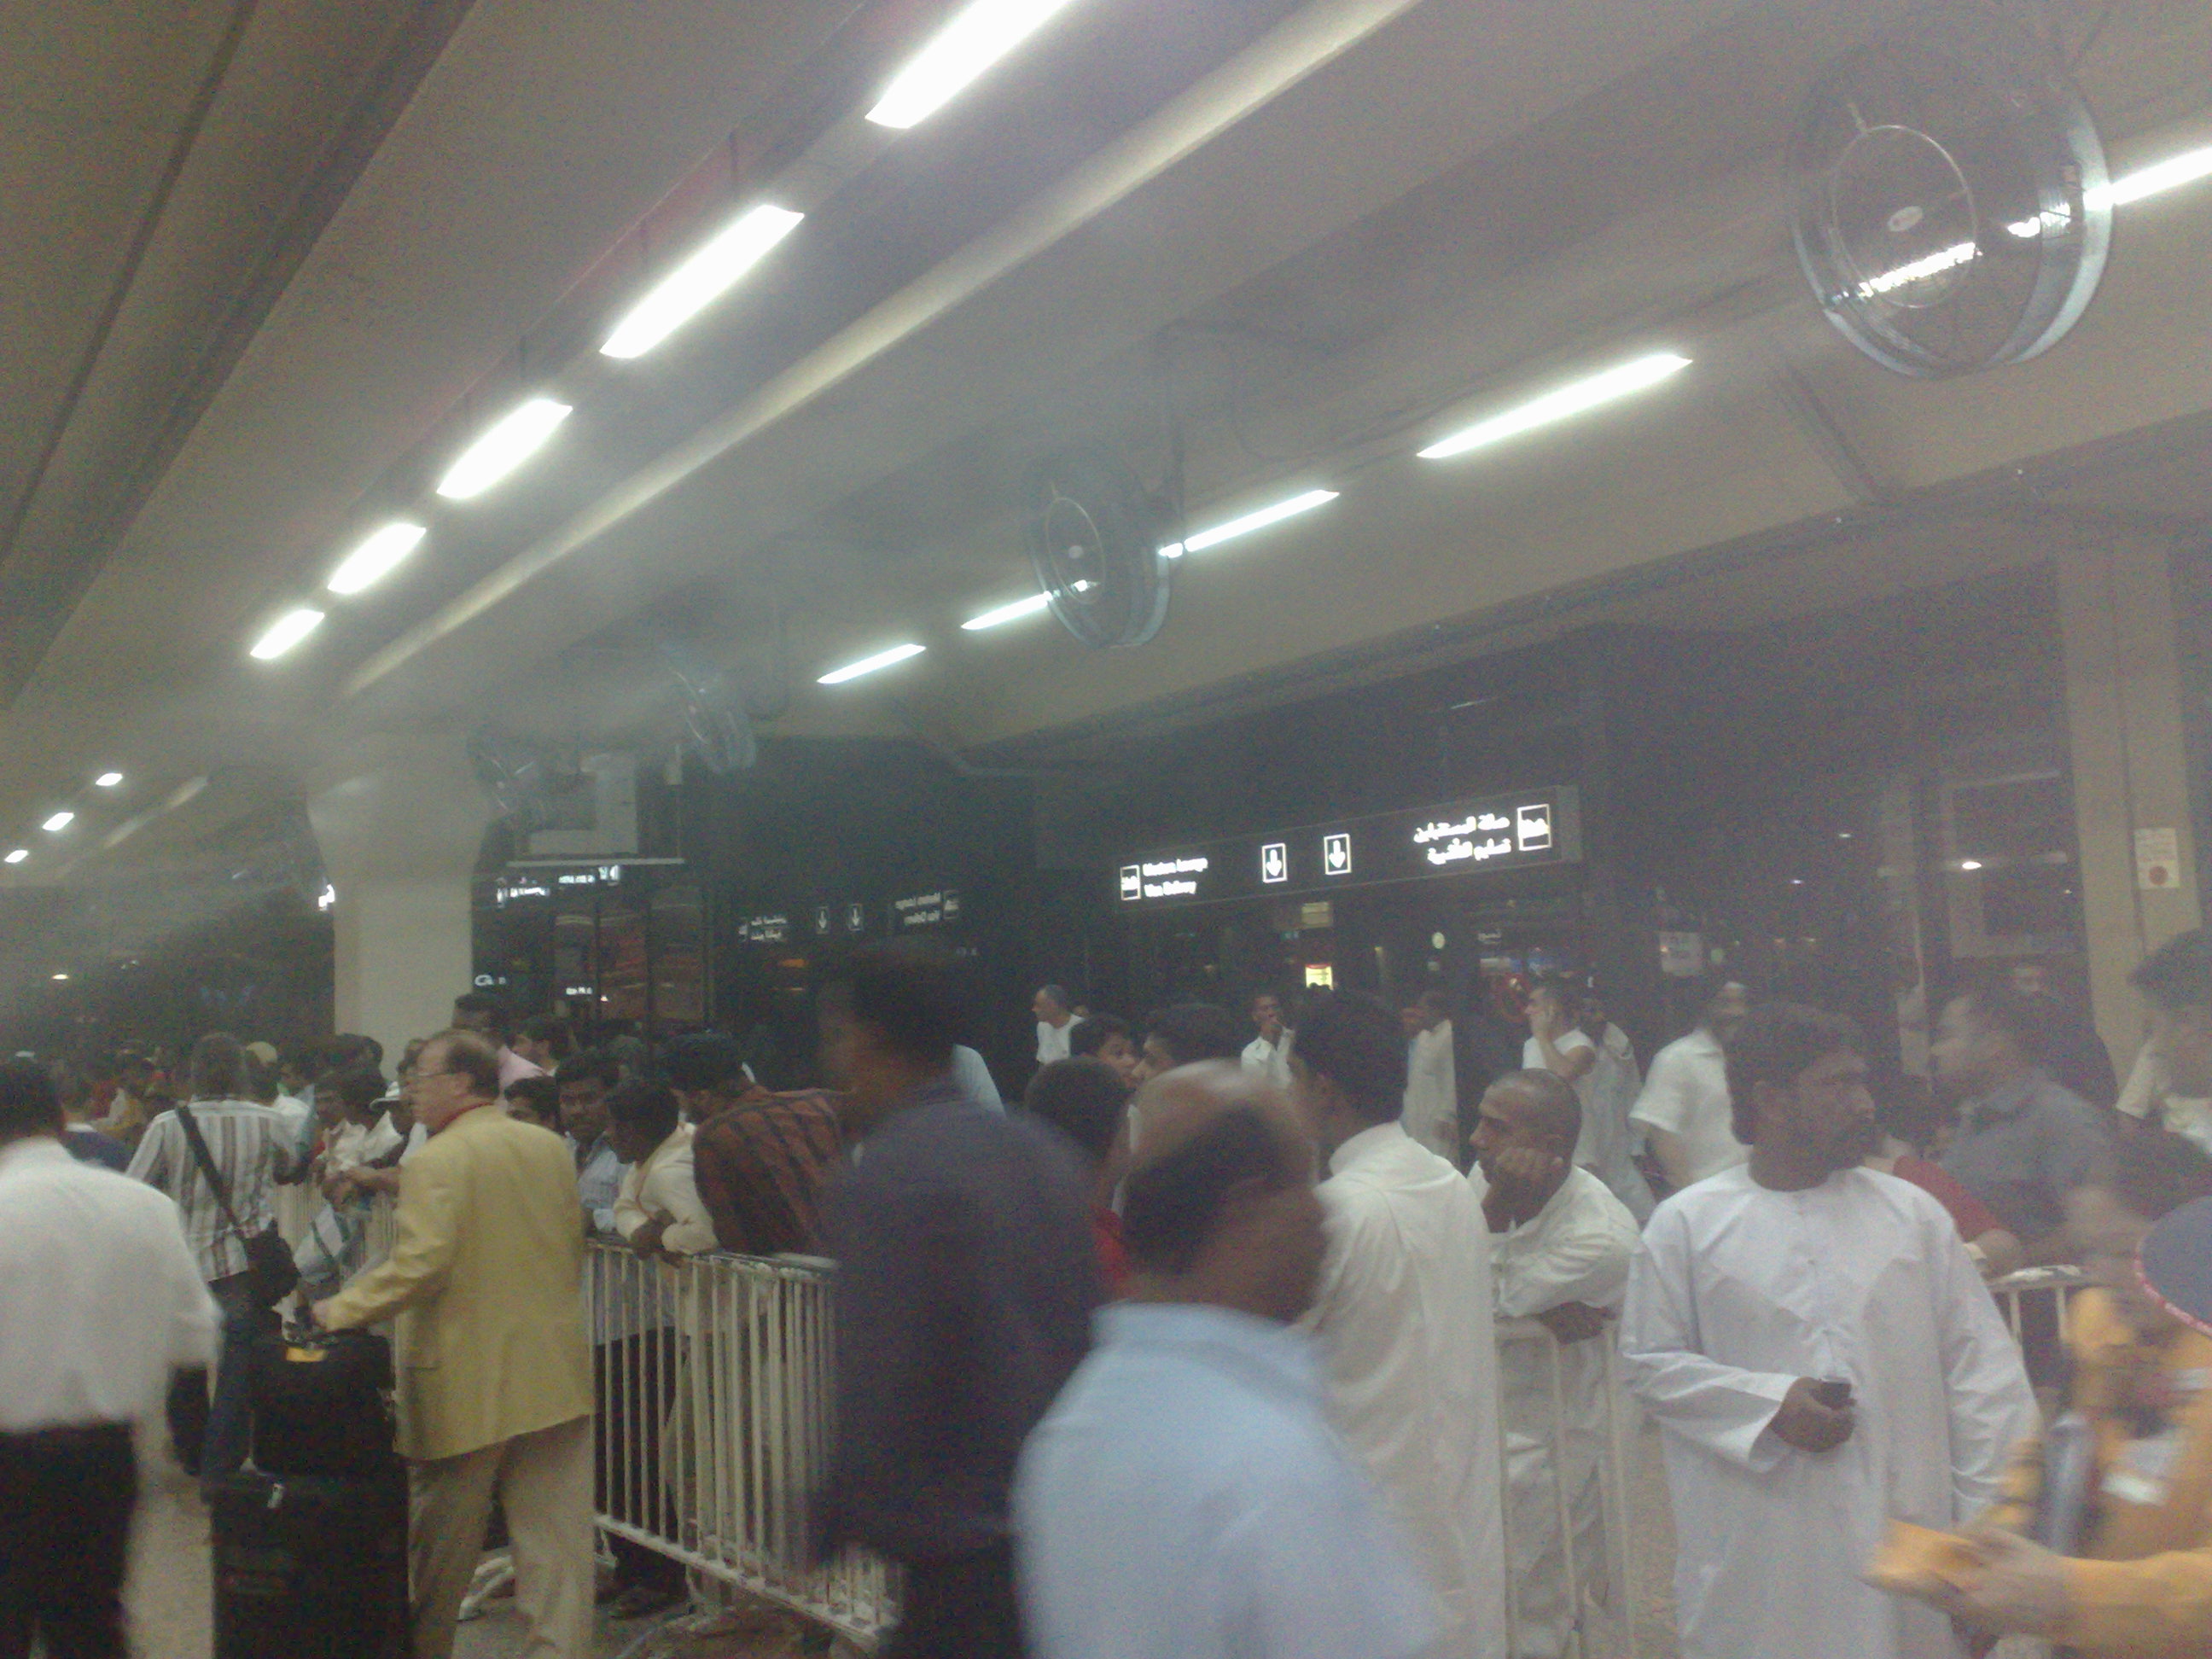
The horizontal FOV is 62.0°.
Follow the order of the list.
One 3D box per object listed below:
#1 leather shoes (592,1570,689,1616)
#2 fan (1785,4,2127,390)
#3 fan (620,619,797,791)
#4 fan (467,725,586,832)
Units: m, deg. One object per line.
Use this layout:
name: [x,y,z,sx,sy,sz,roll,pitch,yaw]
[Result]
leather shoes: [-1.656,2.758,6.533,0.198,0.070,0.207,5,0,-21]
fan: [2.144,-1.631,4.698,0.715,0.774,0.444,-5,-8,30]
fan: [-2.821,-0.865,12.410,0.751,0.928,1.261,4,-9,-28]
fan: [-4.129,-0.354,13.210,0.811,0.676,0.309,2,-8,-20]
